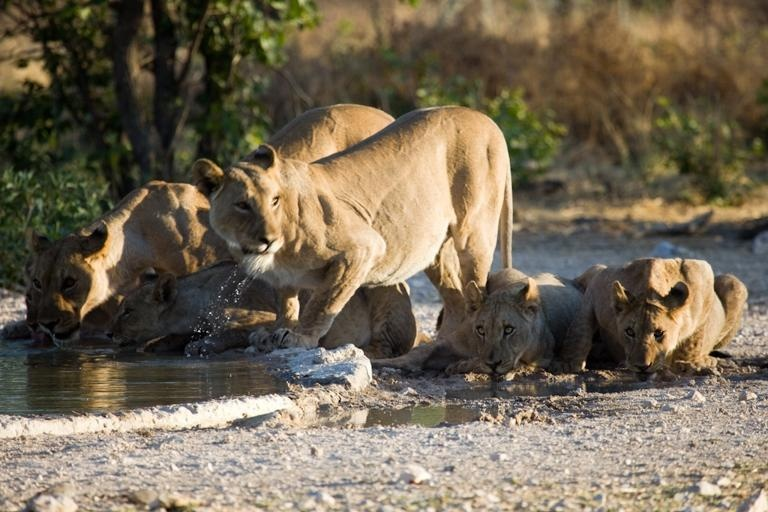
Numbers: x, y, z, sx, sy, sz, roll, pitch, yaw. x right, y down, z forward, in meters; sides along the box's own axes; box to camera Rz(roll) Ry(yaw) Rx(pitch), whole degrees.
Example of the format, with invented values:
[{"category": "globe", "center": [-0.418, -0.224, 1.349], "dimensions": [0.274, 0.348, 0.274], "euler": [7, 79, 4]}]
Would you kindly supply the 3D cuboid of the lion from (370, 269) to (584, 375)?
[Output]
[{"category": "lion", "center": [1.293, 0.593, 14.154], "dimensions": [1.431, 1.110, 3.092], "euler": [-1, -2, 14]}]
